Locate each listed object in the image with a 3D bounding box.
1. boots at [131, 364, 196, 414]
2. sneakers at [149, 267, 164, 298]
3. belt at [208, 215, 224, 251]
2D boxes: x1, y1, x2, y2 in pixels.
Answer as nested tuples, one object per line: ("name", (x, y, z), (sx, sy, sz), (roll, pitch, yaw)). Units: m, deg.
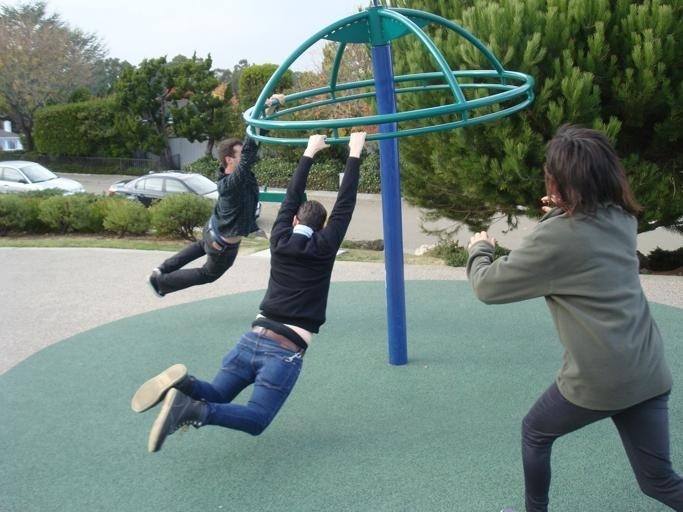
("boots", (-1.060, 0.762, 2.973), (0.402, 0.084, 0.196), (-43, 40, -3))
("sneakers", (-2.150, 0.306, 5.904), (0.137, 0.372, 0.120), (3, -5, -6))
("belt", (-1.361, -0.245, 5.488), (0.107, 0.310, 0.231), (-3, 54, -28))
